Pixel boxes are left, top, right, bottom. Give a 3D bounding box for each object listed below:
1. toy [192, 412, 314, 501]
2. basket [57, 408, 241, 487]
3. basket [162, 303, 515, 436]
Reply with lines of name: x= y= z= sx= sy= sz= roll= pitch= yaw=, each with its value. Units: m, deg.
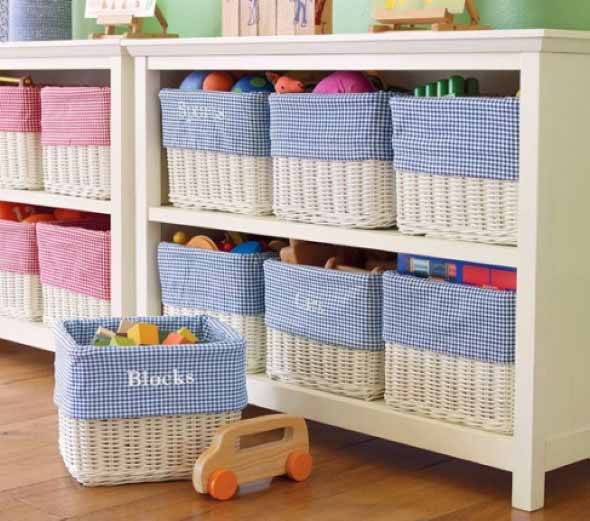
toy: x=-0.078 y=0.347 z=1.204 sx=0.184 sy=0.075 sz=0.049 roll=-8 pitch=15 yaw=-28
basket: x=-0.268 y=0.317 z=1.246 sx=0.272 sy=0.085 sz=0.148 roll=-2 pitch=5 yaw=-16
basket: x=0.091 y=0.203 z=1.269 sx=0.395 sy=0.087 sz=0.368 roll=3 pitch=1 yaw=-36
